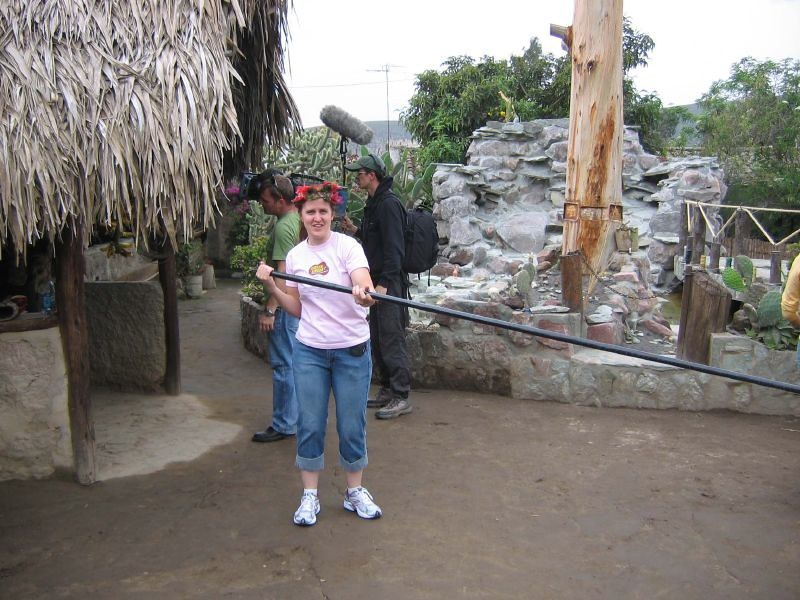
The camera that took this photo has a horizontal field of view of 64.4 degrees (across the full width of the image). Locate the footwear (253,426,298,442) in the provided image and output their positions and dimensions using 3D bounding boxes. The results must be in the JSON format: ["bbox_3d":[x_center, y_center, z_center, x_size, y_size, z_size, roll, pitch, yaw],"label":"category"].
[{"bbox_3d":[-1.117,1.164,5.520,0.303,0.136,0.147,6,-7,-11],"label":"footwear"}]

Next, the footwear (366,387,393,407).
[{"bbox_3d":[-0.237,0.961,6.271,0.307,0.169,0.108,0,3,-23],"label":"footwear"}]

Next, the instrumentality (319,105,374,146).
[{"bbox_3d":[-0.591,-2.012,7.292,0.627,0.387,0.534,-5,13,-23],"label":"instrumentality"}]

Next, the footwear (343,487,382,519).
[{"bbox_3d":[-0.274,1.344,4.349,0.304,0.163,0.131,8,9,43],"label":"footwear"}]

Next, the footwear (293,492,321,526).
[{"bbox_3d":[-0.615,1.366,4.118,0.102,0.131,0.274,3,-9,-1],"label":"footwear"}]

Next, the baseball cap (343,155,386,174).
[{"bbox_3d":[-0.302,-1.240,5.790,0.288,0.151,0.195,2,12,-9],"label":"baseball cap"}]

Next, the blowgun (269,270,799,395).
[{"bbox_3d":[1.302,0.343,5.959,4.791,0.089,0.250,14,-14,9],"label":"blowgun"}]

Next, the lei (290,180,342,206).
[{"bbox_3d":[-0.535,-0.691,4.113,0.288,0.154,0.236,-2,12,-10],"label":"lei"}]
